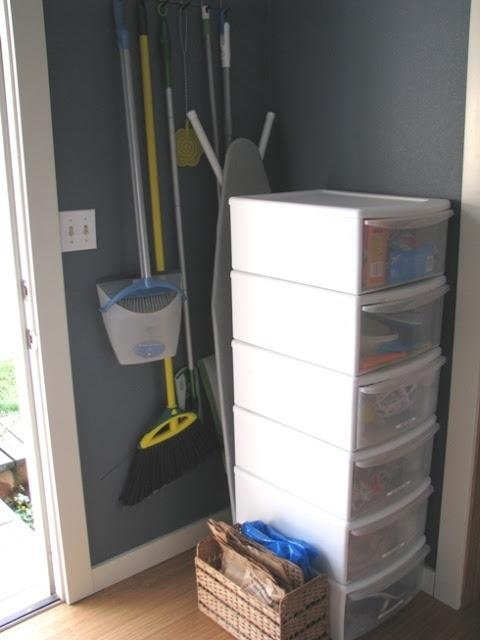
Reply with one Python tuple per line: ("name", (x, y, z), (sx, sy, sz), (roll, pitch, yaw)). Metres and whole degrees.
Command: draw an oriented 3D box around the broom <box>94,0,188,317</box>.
("broom", (-0.263, -0.376, 1.334), (0.221, 0.770, 0.094), (-6, 12, -17))
